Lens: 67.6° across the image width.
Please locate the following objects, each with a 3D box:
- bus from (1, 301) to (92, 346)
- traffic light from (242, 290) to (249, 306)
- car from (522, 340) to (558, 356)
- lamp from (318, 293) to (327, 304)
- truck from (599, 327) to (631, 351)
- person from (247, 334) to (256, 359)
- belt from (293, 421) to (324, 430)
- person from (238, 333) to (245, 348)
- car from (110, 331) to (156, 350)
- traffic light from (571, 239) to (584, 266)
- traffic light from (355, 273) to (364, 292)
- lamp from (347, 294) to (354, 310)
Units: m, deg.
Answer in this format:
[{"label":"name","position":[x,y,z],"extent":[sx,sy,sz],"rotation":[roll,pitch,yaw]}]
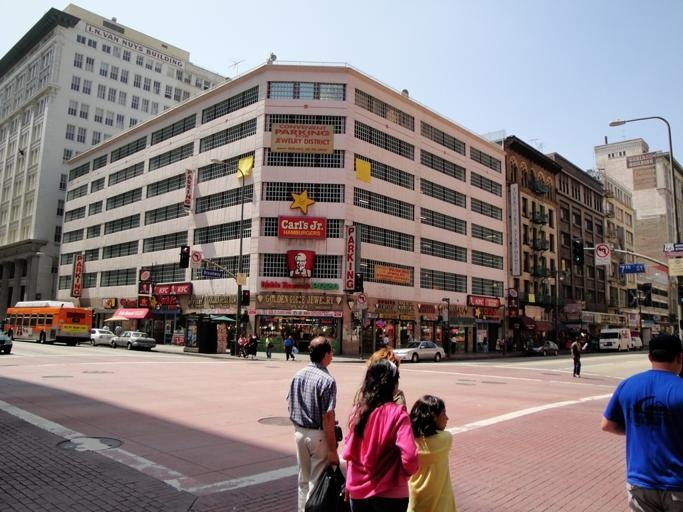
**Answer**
[{"label":"bus","position":[-23.877,5.240,41.353],"extent":[3.702,3.867,10.832],"rotation":[13,-11,-43]},{"label":"traffic light","position":[-6.910,2.893,36.397],"extent":[0.456,0.876,0.851],"rotation":[5,-12,-20]},{"label":"car","position":[19.638,8.764,49.714],"extent":[3.074,1.085,1.650],"rotation":[16,-20,-40]},{"label":"lamp","position":[-1.334,3.325,39.720],"extent":[1.075,0.802,0.635],"rotation":[1,-4,1]},{"label":"truck","position":[32.306,9.917,60.181],"extent":[2.274,2.507,4.452],"rotation":[-13,-24,39]},{"label":"person","position":[-6.147,6.050,34.425],"extent":[0.616,1.493,1.349],"rotation":[5,-12,-19]},{"label":"belt","position":[-0.406,2.061,6.228],"extent":[0.459,0.090,0.092],"rotation":[-7,-14,33]},{"label":"person","position":[-7.008,5.976,35.630],"extent":[0.514,0.702,1.171],"rotation":[3,-12,-10]},{"label":"car","position":[-15.924,6.393,38.751],"extent":[3.634,1.437,1.490],"rotation":[-9,-15,39]},{"label":"traffic light","position":[12.027,-0.283,25.774],"extent":[0.406,1.272,0.795],"rotation":[-4,-12,21]},{"label":"traffic light","position":[1.262,1.815,36.952],"extent":[0.466,1.268,1.078],"rotation":[2,-12,-5]},{"label":"lamp","position":[0.714,3.608,40.307],"extent":[0.168,1.126,0.641],"rotation":[-10,-15,42]}]
